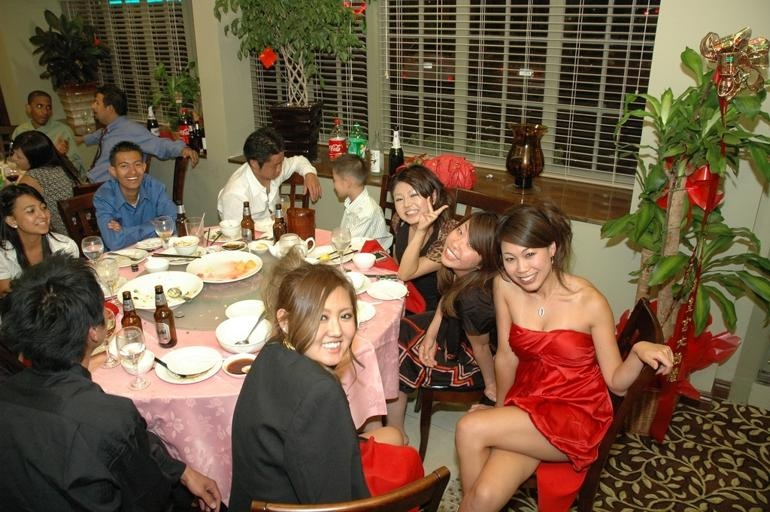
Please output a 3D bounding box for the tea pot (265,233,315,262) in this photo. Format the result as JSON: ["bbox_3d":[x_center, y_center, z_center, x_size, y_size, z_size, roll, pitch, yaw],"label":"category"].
[{"bbox_3d":[-0.519,-0.061,2.778,0.250,0.141,0.169,-2,4,-4],"label":"tea pot"}]

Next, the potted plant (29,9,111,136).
[{"bbox_3d":[-3.502,-2.043,5.555,0.614,1.242,0.732,-7,17,-9],"label":"potted plant"}]

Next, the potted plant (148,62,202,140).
[{"bbox_3d":[-1.965,-1.481,4.955,0.460,0.681,0.387,8,11,1],"label":"potted plant"}]

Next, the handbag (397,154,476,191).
[{"bbox_3d":[0.419,-0.639,3.654,0.423,0.181,0.410,12,33,20],"label":"handbag"}]

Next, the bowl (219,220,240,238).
[{"bbox_3d":[-0.939,-0.193,3.075,0.106,0.083,0.110,3,25,-1],"label":"bowl"}]
